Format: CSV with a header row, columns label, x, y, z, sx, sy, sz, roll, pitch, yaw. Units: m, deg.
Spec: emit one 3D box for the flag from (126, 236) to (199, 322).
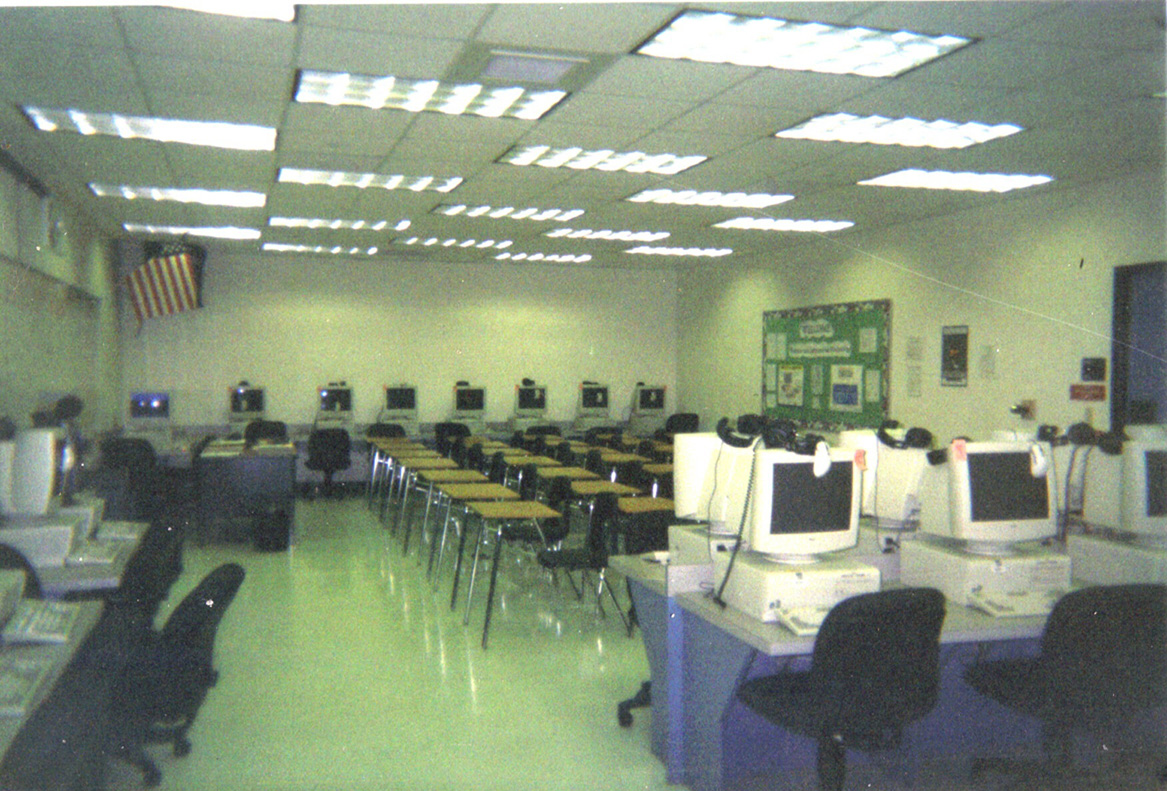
label,x,y,z,sx,sy,sz,roll,pitch,yaw
flag,-1.815,-0.494,3.963,0.028,0.245,0.369,1,13,28
